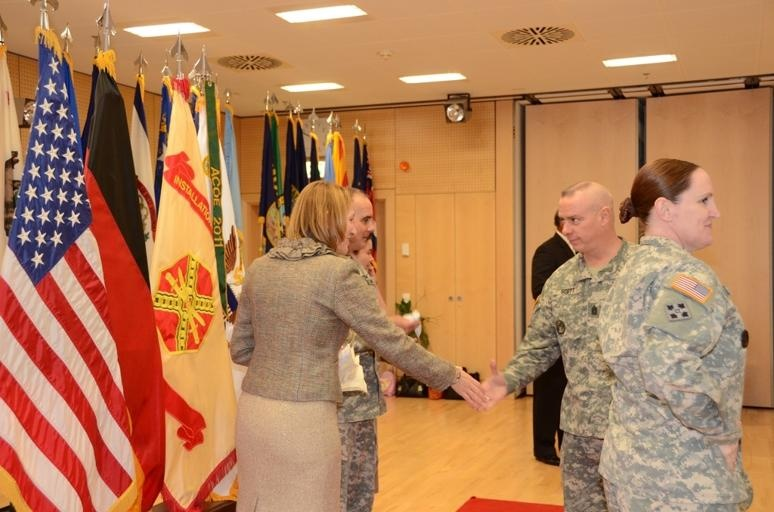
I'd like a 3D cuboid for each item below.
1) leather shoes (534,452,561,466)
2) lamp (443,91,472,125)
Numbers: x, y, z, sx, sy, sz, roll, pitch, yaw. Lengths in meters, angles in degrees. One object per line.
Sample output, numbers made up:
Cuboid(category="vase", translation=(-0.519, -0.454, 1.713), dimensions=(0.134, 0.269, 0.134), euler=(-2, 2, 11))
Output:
Cuboid(category="leather shoes", translation=(1.438, 1.818, 5.876), dimensions=(0.197, 0.093, 0.078), euler=(-2, -3, 37))
Cuboid(category="lamp", translation=(0.908, -1.811, 8.324), dimensions=(0.379, 0.467, 0.327), euler=(4, 26, 22))
